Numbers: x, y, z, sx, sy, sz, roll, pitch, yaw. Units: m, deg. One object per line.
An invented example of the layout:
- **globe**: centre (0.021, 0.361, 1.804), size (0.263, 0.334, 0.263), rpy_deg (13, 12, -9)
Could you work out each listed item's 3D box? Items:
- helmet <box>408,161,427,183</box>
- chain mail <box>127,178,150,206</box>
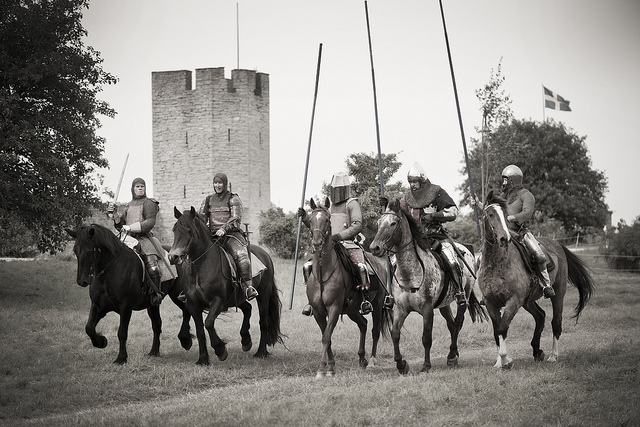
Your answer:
- **helmet**: centre (2.932, -1.292, 19.079), size (0.533, 0.611, 0.457), rpy_deg (1, 2, 9)
- **chain mail**: centre (-5.892, -0.716, 20.211), size (0.682, 0.906, 0.466), rpy_deg (0, 2, -2)
